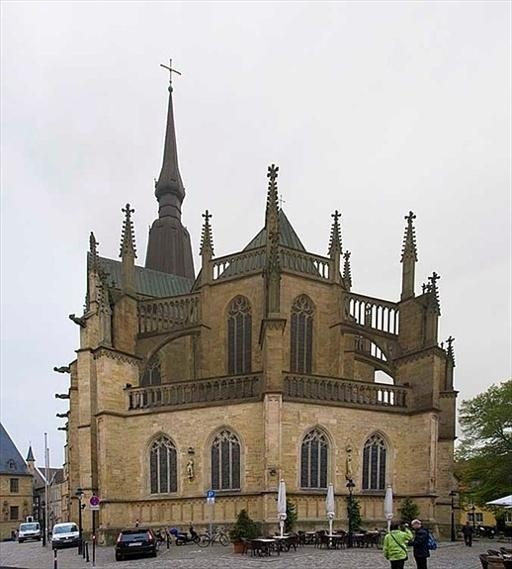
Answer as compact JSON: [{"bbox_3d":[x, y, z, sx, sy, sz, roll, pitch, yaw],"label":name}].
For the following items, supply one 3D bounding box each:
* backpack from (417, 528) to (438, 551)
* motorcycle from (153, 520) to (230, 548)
[{"bbox_3d":[5.824,8.736,45.583,0.440,0.727,0.675,7,-12,-12],"label":"backpack"},{"bbox_3d":[-2.744,10.848,57.670,2.656,1.768,1.341,-1,-24,-6],"label":"motorcycle"}]
